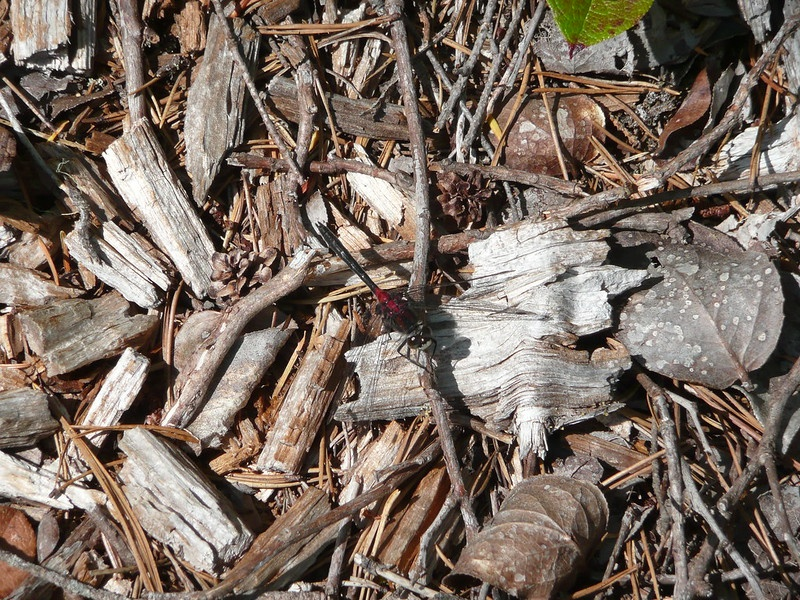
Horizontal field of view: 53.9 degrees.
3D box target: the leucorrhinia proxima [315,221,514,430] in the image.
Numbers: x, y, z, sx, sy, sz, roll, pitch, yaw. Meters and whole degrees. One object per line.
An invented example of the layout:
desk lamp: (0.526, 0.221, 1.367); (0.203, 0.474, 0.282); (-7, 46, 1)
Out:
leucorrhinia proxima: (-0.023, -0.006, 3.605); (0.295, 0.280, 0.811); (-46, 70, 16)
